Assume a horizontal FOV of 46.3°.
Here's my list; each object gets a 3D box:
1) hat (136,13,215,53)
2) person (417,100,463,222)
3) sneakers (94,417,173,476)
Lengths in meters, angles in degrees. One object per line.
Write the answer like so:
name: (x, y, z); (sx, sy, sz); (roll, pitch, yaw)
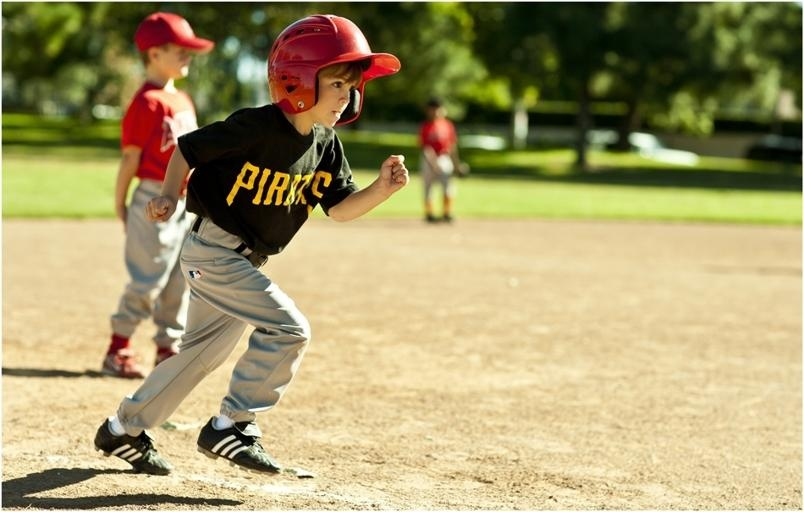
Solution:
hat: (-1.941, -1.901, 8.025); (0.727, 0.338, 0.453); (4, 15, 2)
person: (0.626, -1.595, 15.747); (0.681, 2.045, 1.270); (1, 15, 1)
sneakers: (-1.882, 1.347, 6.642); (0.599, 0.289, 0.203); (23, 11, -1)
